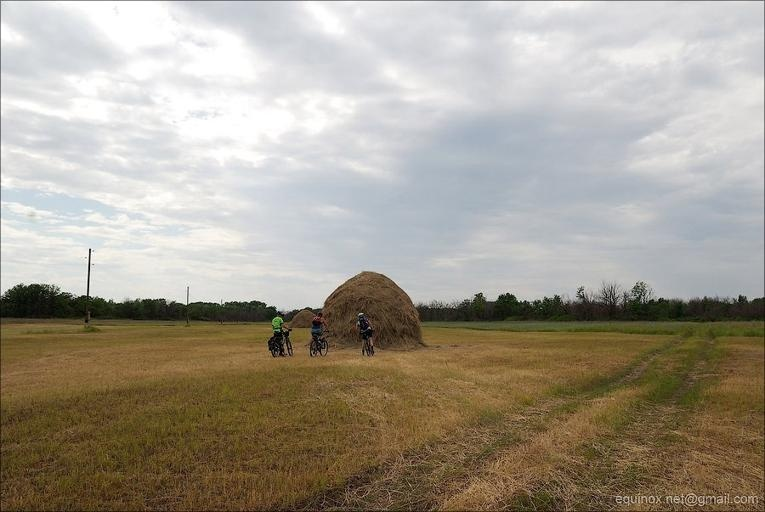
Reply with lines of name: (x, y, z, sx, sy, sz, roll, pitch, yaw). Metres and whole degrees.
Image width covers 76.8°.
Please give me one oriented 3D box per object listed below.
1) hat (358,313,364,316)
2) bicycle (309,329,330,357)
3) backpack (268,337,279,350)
hat: (-1.200, 3.272, 26.848, 0.389, 0.123, 0.377, 0, -5, -11)
bicycle: (-3.371, 4.855, 25.884, 0.865, 1.012, 1.694, -1, -12, 8)
backpack: (-5.552, 4.583, 24.641, 0.430, 0.745, 1.114, -1, 2, -3)
